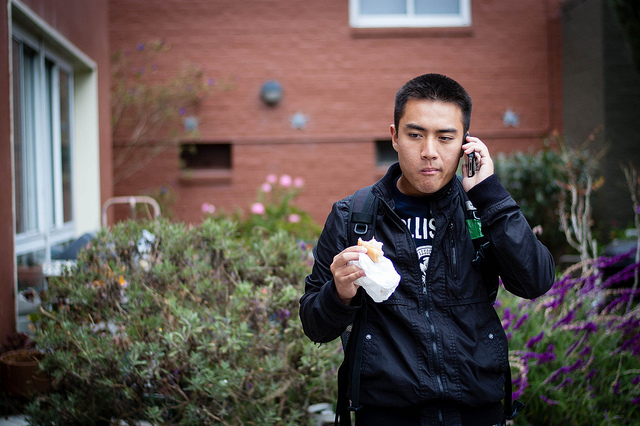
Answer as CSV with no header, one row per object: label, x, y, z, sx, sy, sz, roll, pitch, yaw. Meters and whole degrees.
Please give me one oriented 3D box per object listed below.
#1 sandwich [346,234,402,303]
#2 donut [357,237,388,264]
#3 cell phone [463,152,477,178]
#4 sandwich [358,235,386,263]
sandwich,0.331,0.342,4.037,0.406,0.304,0.189,45,7,4
donut,0.343,0.250,4.053,0.161,0.064,0.161,38,-10,1
cell phone,1.046,-0.335,4.322,0.073,0.228,0.131,-1,-10,-3
sandwich,0.331,0.228,4.063,0.103,0.082,0.201,1,33,-33
